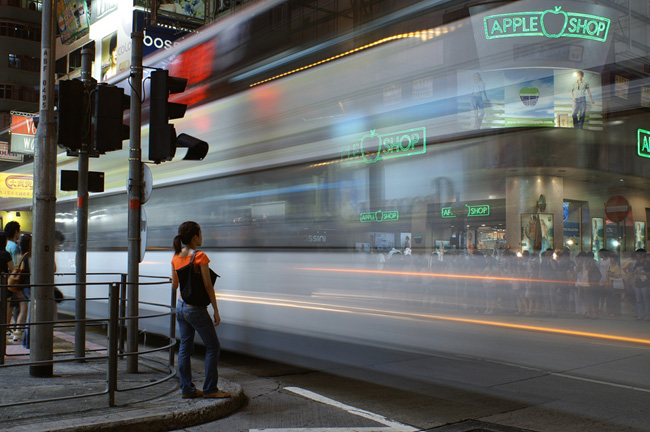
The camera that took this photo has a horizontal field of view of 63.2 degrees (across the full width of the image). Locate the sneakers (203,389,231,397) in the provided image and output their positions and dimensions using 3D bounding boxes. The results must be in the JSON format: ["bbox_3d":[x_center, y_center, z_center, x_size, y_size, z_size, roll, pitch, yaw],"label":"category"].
[{"bbox_3d":[-1.502,2.497,7.335,0.340,0.129,0.130,0,-6,-14],"label":"sneakers"}]

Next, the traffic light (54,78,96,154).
[{"bbox_3d":[-4.050,-1.640,8.528,0.452,1.226,0.710,3,-1,-7],"label":"traffic light"}]

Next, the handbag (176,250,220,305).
[{"bbox_3d":[-1.821,0.949,7.571,0.493,0.753,0.645,10,-25,-12],"label":"handbag"}]

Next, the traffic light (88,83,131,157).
[{"bbox_3d":[-3.507,-1.629,8.685,0.740,0.933,0.715,-5,17,-43],"label":"traffic light"}]

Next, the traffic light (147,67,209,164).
[{"bbox_3d":[-2.427,-1.602,8.474,0.839,1.552,0.421,3,0,-20],"label":"traffic light"}]

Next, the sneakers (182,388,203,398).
[{"bbox_3d":[-1.848,2.485,7.369,0.309,0.114,0.102,0,-3,-26],"label":"sneakers"}]

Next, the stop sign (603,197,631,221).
[{"bbox_3d":[5.306,-0.134,9.508,0.406,0.389,1.231,2,-1,30],"label":"stop sign"}]
